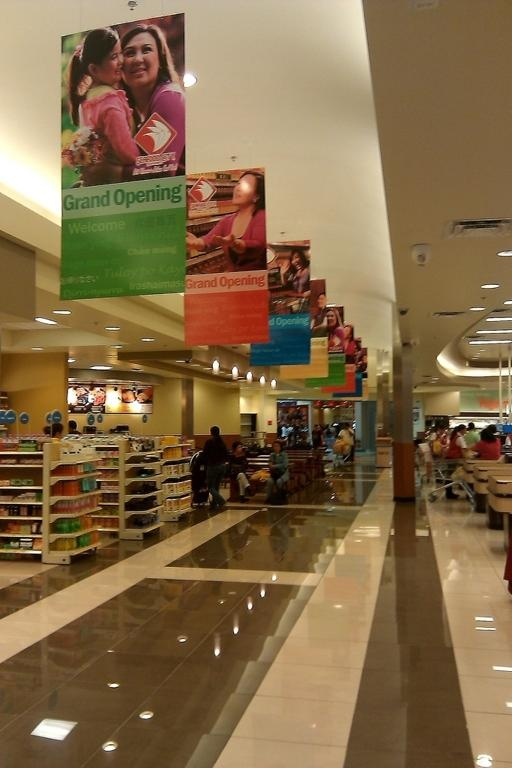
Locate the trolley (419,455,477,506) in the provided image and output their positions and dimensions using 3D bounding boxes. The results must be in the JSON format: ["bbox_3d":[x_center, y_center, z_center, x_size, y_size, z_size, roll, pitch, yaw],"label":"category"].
[{"bbox_3d":[4.364,2.238,12.768,1.350,1.679,1.276,-1,-7,8],"label":"trolley"}]

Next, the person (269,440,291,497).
[{"bbox_3d":[0.477,1.936,12.355,0.384,1.274,0.607,0,-3,1],"label":"person"}]

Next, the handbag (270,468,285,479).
[{"bbox_3d":[0.468,2.016,12.352,0.300,0.288,0.141,-1,-3,4],"label":"handbag"}]

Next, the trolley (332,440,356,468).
[{"bbox_3d":[3.885,3.176,24.878,0.723,1.260,1.013,-5,13,-9],"label":"trolley"}]

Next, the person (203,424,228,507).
[{"bbox_3d":[-0.838,1.716,11.227,0.434,1.691,1.057,0,-3,-4],"label":"person"}]

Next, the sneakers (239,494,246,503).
[{"bbox_3d":[-0.296,2.564,12.297,0.085,0.160,0.157,2,-43,4],"label":"sneakers"}]
